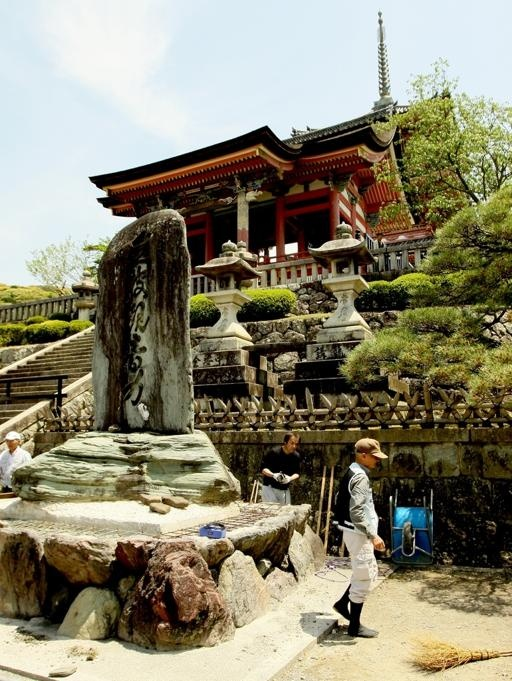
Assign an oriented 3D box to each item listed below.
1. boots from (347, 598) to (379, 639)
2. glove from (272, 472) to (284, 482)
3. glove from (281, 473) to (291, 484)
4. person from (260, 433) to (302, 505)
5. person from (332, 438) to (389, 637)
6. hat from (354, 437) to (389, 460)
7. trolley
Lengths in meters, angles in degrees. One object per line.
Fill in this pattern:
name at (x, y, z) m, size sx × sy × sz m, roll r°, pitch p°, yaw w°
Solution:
boots at (0.688, 1.782, 4.365) m, size 0.189 × 0.224 × 0.135 m, roll 3°, pitch -5°, yaw 11°
glove at (0.194, 1.244, 6.223) m, size 0.081 × 0.081 × 0.047 m, roll -12°, pitch -13°, yaw 33°
glove at (0.276, 1.258, 6.220) m, size 0.072 × 0.076 × 0.086 m, roll -1°, pitch -19°, yaw 7°
person at (0.224, 1.193, 6.363) m, size 0.352 × 0.666 × 0.471 m, roll 4°, pitch -5°, yaw 2°
person at (0.697, 1.295, 4.631) m, size 0.324 × 1.258 × 0.568 m, roll 3°, pitch -5°, yaw 7°
hat at (0.765, 0.718, 4.639) m, size 0.273 × 0.139 × 0.174 m, roll 5°, pitch -2°, yaw 5°
trolley at (1.417, 1.698, 6.179) m, size 0.450 × 0.376 × 0.752 m, roll 3°, pitch 25°, yaw 21°
